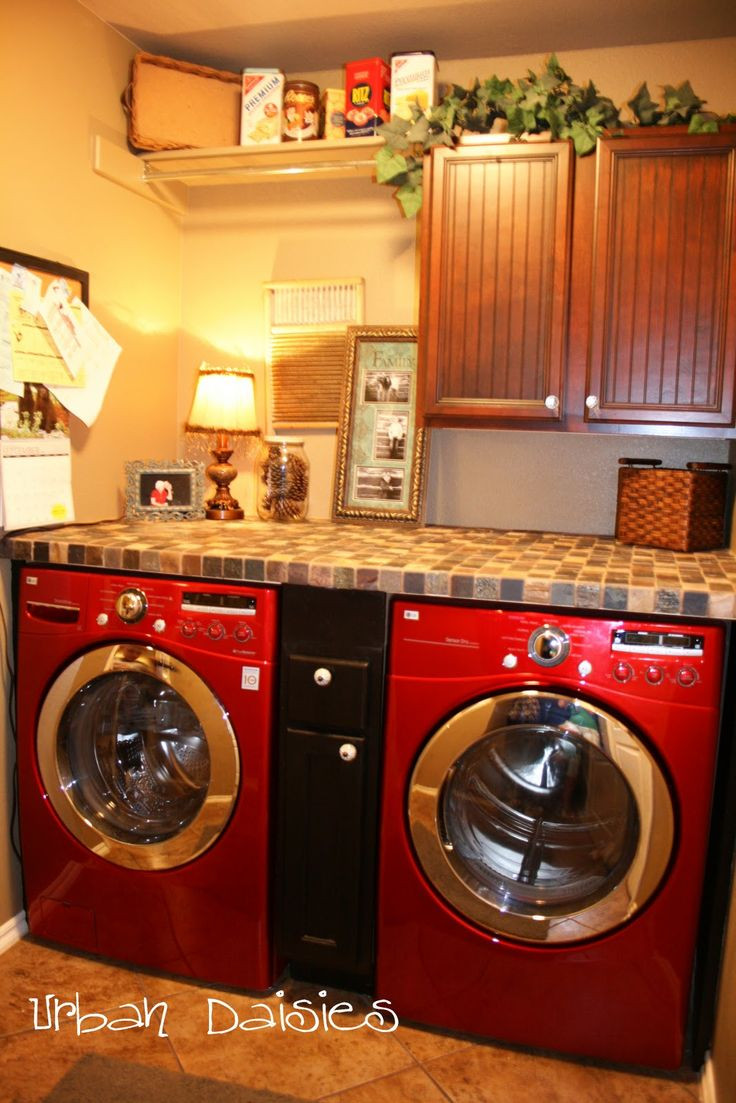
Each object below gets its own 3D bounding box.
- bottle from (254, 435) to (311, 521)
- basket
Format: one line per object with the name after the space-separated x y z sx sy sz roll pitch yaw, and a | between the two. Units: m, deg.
-0.251 -0.212 2.381 0.146 0.248 0.085 1 4 -3 | bottle
0.700 -0.113 1.974 0.196 0.285 0.267 -5 8 -35 | basket
